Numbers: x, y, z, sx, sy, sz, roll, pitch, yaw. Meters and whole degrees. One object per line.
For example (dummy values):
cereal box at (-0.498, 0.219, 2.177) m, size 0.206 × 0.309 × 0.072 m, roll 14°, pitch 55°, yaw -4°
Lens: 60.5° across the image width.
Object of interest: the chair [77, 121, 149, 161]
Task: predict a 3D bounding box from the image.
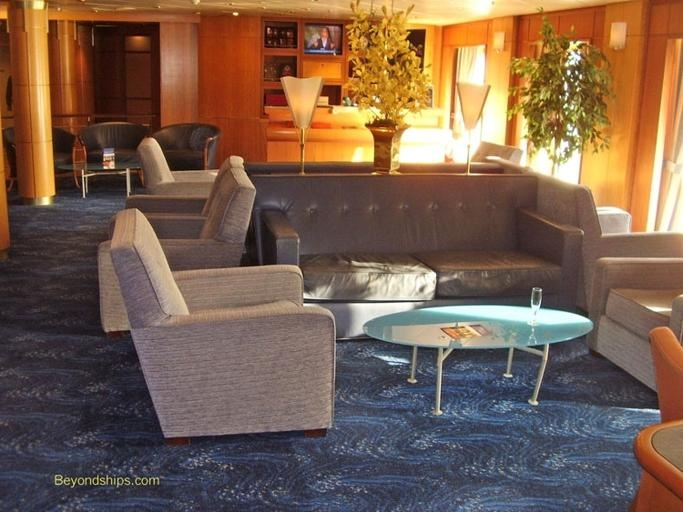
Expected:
chair at (-3.889, -2.039, 10.048) m, size 1.304 × 0.786 × 0.947 m, roll -4°, pitch 17°, yaw -19°

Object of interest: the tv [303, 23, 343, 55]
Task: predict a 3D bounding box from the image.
tv at (-0.396, -4.300, 11.458) m, size 0.811 × 0.427 × 0.096 m, roll 1°, pitch 15°, yaw -8°

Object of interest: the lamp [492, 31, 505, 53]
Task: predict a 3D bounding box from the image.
lamp at (2.444, -3.363, 9.083) m, size 0.171 × 0.317 × 0.313 m, roll 3°, pitch 14°, yaw 7°

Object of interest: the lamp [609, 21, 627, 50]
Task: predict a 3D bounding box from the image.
lamp at (3.139, -2.531, 6.682) m, size 0.156 × 0.301 × 0.254 m, roll 0°, pitch 15°, yaw -4°

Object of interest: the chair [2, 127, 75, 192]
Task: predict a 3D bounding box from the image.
chair at (-4.845, -1.606, 9.525) m, size 1.028 × 0.988 × 2.224 m, roll -5°, pitch 14°, yaw -22°

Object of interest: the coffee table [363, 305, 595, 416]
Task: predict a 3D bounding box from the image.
coffee table at (0.821, 0.604, 3.647) m, size 1.392 × 0.584 × 0.746 m, roll 0°, pitch 14°, yaw -2°
